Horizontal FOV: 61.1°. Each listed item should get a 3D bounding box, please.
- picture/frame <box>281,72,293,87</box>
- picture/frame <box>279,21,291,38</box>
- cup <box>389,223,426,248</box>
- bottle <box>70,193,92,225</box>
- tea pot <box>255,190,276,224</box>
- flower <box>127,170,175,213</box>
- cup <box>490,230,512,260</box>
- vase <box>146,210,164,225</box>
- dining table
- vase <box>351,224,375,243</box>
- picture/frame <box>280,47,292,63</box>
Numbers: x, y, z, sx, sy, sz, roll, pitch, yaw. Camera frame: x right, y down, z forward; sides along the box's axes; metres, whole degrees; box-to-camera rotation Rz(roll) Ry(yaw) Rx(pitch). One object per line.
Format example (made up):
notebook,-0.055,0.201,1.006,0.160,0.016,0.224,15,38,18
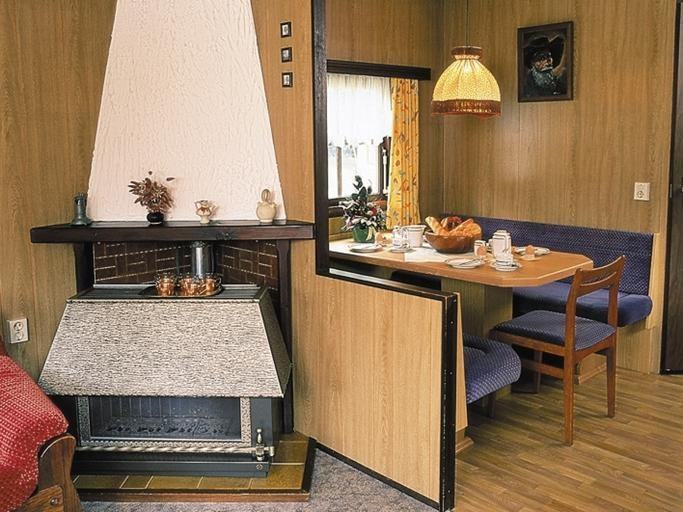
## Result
picture/frame,-0.347,-1.098,3.566,0.102,0.094,0.011,7,12,34
picture/frame,-0.356,-1.396,3.533,0.105,0.096,0.011,10,16,37
cup,0.541,-0.161,4.649,0.263,0.158,0.151,-1,4,0
bottle,-1.692,-0.299,3.651,0.115,0.196,0.164,-7,11,-21
tea pot,-0.489,-0.325,3.652,0.135,0.213,0.182,-4,10,-5
flower,-1.239,-0.406,3.679,0.309,0.274,0.147,-5,11,-9
cup,1.153,-0.090,4.104,0.141,0.210,0.208,-4,10,-26
vase,-1.199,-0.247,3.637,0.100,0.062,0.094,0,1,12
dining table,1.019,0.493,4.235,0.856,0.659,1.473,-5,7,-45
vase,0.182,-0.191,4.889,0.174,0.124,0.149,0,7,5
picture/frame,-0.351,-1.247,3.550,0.103,0.095,0.011,10,14,40
